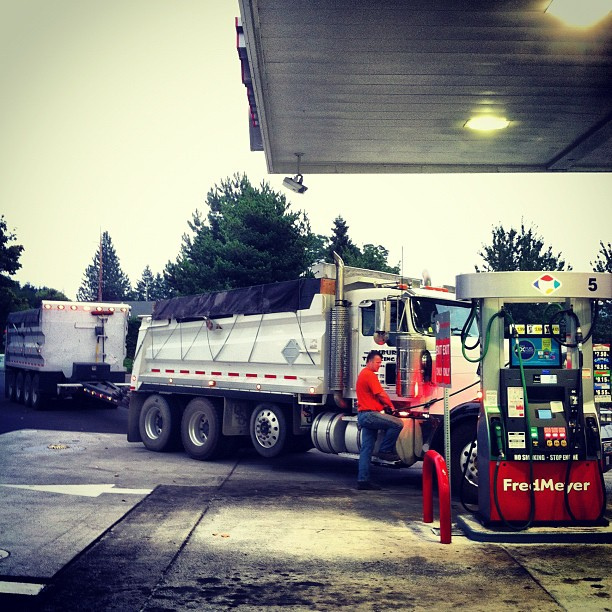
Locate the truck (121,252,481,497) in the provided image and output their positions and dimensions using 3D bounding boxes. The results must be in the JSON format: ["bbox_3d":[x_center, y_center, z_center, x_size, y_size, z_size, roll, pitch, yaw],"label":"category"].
[{"bbox_3d":[0.131,0.999,12.616,2.561,3.660,7.187,2,-5,-41],"label":"truck"}]

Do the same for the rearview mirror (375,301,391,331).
[{"bbox_3d":[0.994,0.127,9.762,0.255,0.599,0.300,0,-4,6],"label":"rearview mirror"}]

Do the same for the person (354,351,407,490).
[{"bbox_3d":[1.008,1.581,10.054,0.718,1.908,0.575,0,-2,18],"label":"person"}]
